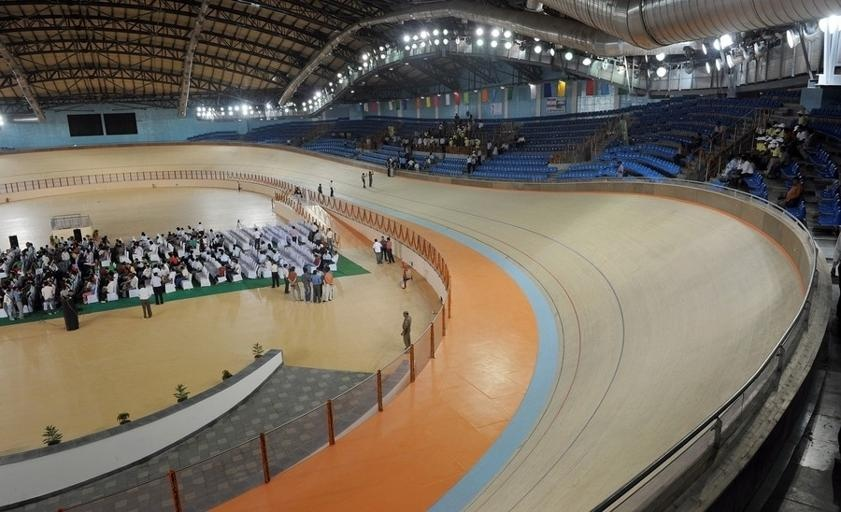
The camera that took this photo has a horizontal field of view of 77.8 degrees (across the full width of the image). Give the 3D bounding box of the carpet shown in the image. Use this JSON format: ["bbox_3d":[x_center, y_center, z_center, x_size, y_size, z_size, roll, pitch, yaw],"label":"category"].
[{"bbox_3d":[-10.767,1.476,25.568,16.016,0.647,3.194,-6,14,-20],"label":"carpet"}]

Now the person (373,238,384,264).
[{"bbox_3d":[-2.295,-0.220,28.164,0.417,1.218,0.615,-2,14,-2],"label":"person"}]

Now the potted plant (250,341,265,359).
[{"bbox_3d":[-5.999,3.459,19.039,0.519,0.661,0.497,1,14,-2],"label":"potted plant"}]

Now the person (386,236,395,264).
[{"bbox_3d":[-1.697,-0.319,28.324,0.472,1.272,0.766,-3,14,-3],"label":"person"}]

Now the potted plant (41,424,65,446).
[{"bbox_3d":[-10.790,5.265,15.256,0.532,0.626,0.527,-1,25,-18],"label":"potted plant"}]
